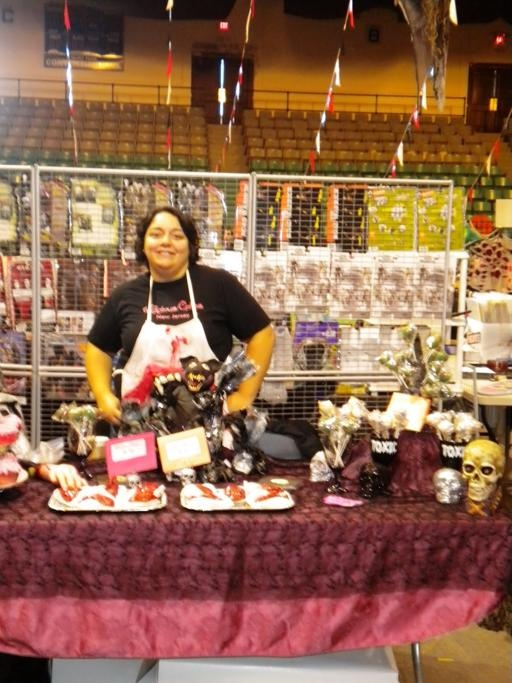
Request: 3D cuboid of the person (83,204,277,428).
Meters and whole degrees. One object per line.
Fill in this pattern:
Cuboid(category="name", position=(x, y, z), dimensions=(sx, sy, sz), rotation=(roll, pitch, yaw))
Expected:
Cuboid(category="person", position=(-0.230, 0.067, 1.753), dimensions=(0.500, 0.970, 0.248), rotation=(-5, 25, -10))
